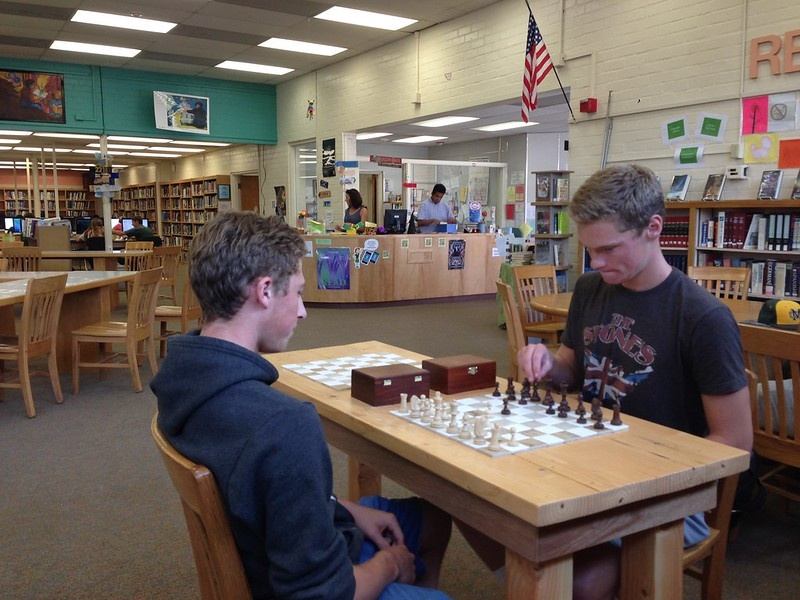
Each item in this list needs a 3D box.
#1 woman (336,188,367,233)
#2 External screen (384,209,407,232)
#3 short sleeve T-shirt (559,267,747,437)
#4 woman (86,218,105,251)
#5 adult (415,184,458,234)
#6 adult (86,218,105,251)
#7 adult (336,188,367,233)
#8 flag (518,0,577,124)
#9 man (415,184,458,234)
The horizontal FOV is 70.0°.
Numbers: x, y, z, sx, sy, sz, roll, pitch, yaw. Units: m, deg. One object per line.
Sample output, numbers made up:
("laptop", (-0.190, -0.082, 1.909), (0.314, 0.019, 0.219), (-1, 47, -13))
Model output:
("woman", (-0.844, -1.567, 10.061), (0.616, 1.204, 1.025), (0, 5, -7))
("External screen", (-0.081, -1.332, 9.616), (0.374, 0.414, 0.237), (0, 6, -12))
("short sleeve T-shirt", (0.821, 0.186, 1.893), (0.227, 0.429, 0.508), (1, 7, -34))
("woman", (-5.865, -1.300, 11.019), (0.317, 0.546, 1.797), (-5, 11, -27))
("adult", (0.648, -1.433, 10.153), (0.631, 1.244, 0.652), (-2, 19, -20))
("adult", (-5.724, -1.256, 10.756), (0.317, 0.546, 2.306), (-5, 11, -27))
("adult", (-0.823, -1.561, 10.103), (0.616, 1.204, 1.025), (0, 5, -7))
("flag", (1.744, -2.841, 6.613), (0.631, 1.558, 1.386), (2, 10, 12))
("man", (0.629, -1.428, 10.137), (0.642, 1.248, 0.645), (-1, 18, -18))
